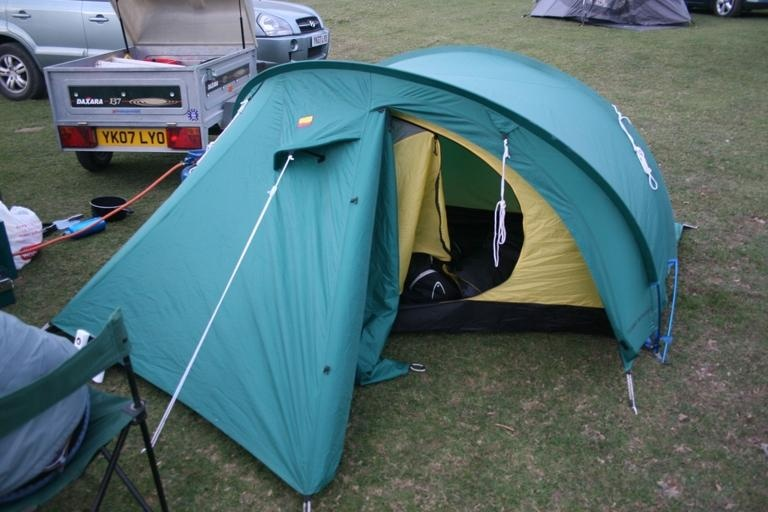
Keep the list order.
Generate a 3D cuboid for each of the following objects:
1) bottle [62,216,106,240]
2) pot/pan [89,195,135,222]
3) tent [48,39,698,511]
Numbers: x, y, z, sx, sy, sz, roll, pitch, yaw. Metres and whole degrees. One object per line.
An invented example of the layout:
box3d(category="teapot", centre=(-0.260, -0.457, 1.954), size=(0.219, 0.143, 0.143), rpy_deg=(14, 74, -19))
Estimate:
box3d(category="bottle", centre=(-3.127, -0.325, 5.950), size=(0.429, 0.172, 0.194), rpy_deg=(-21, 35, -30))
box3d(category="pot/pan", centre=(-2.981, -0.535, 6.161), size=(0.377, 0.141, 0.235), rpy_deg=(11, 26, -1))
box3d(category="tent", centre=(-0.116, 0.628, 5.226), size=(3.945, 1.719, 4.063), rpy_deg=(20, 43, 26))
